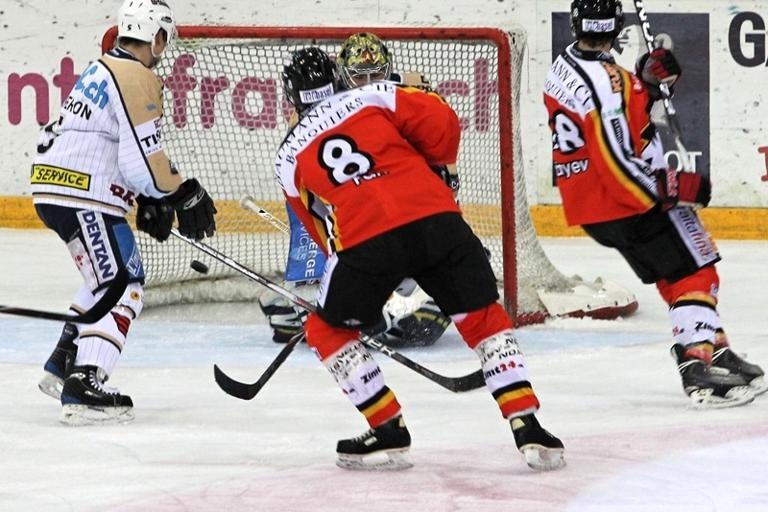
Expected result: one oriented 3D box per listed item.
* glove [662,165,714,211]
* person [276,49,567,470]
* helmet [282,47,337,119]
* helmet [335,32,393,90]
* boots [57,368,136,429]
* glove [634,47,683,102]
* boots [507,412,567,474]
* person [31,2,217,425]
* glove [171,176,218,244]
[{"bbox_3d":[1.240,-0.281,4.203,0.220,0.166,0.154,2,13,13],"label":"glove"},{"bbox_3d":[0.074,0.009,3.708,0.968,1.530,0.523,-1,13,1],"label":"person"},{"bbox_3d":[-0.331,-0.645,3.730,0.211,0.241,0.260,-18,12,-9],"label":"helmet"},{"bbox_3d":[-0.103,-0.891,4.566,0.258,0.266,0.296,-10,40,-10],"label":"helmet"},{"bbox_3d":[-1.203,0.577,4.185,0.125,0.252,0.385,-8,-16,36],"label":"boots"},{"bbox_3d":[1.144,-0.761,4.255,0.184,0.216,0.099,4,6,40],"label":"glove"},{"bbox_3d":[0.556,0.653,3.688,0.246,0.158,0.095,14,-42,-45],"label":"boots"},{"bbox_3d":[-1.099,-0.215,4.240,0.801,1.699,0.613,-7,14,-23],"label":"person"},{"bbox_3d":[-0.832,-0.201,4.461,0.225,0.250,0.096,-34,39,-2],"label":"glove"}]
